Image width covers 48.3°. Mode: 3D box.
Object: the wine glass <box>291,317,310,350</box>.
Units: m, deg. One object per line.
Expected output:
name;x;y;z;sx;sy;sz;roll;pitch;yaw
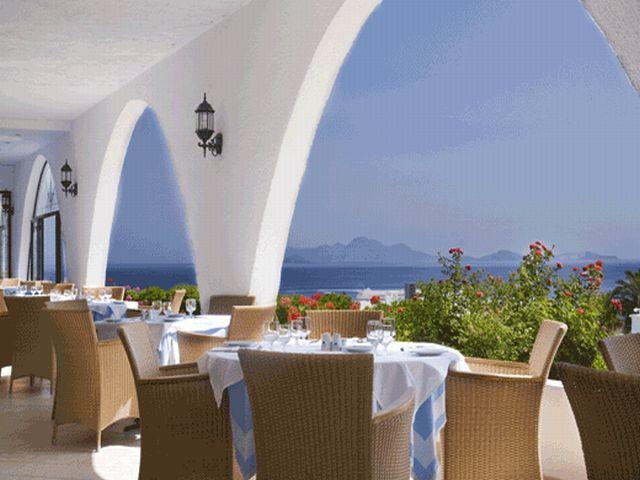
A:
wine glass;-0.133;0.705;5.358;0.162;0.323;0.180;-1;-1;14

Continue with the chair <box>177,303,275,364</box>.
chair;-0.888;0.735;6.585;0.640;0.911;0.606;-1;-2;27

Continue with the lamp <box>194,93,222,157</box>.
lamp;-1.376;-1.403;8.644;0.321;0.786;0.473;2;-3;-27

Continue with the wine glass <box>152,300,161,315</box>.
wine glass;-1.585;0.660;6.995;0.098;0.137;0.103;0;0;-29

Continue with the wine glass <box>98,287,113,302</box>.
wine glass;-2.826;0.720;9.452;0.122;0.233;0.121;-3;-4;34

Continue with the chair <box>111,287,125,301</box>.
chair;-2.916;0.754;10.402;0.182;0.277;0.186;-3;1;-12

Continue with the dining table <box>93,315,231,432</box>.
dining table;-1.517;1.099;7.085;1.040;0.997;1.090;0;-1;-31

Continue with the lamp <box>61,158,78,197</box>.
lamp;-4.669;-1.189;13.350;0.285;0.759;0.812;1;-4;-21
